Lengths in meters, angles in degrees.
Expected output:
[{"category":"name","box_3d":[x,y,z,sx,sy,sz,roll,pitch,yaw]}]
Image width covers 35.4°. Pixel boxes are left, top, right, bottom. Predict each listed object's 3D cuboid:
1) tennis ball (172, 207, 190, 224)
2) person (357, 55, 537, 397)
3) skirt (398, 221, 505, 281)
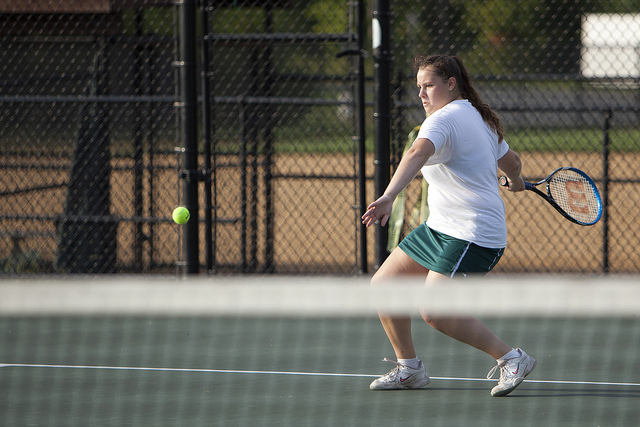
[{"category":"tennis ball","box_3d":[-1.244,0.028,8.880,0.159,0.114,0.097,-5,3,21]},{"category":"person","box_3d":[0.904,0.136,7.377,0.927,2.571,1.427,-2,4,43]},{"category":"skirt","box_3d":[0.958,0.295,7.401,0.434,0.234,0.493,13,14,-8]}]
